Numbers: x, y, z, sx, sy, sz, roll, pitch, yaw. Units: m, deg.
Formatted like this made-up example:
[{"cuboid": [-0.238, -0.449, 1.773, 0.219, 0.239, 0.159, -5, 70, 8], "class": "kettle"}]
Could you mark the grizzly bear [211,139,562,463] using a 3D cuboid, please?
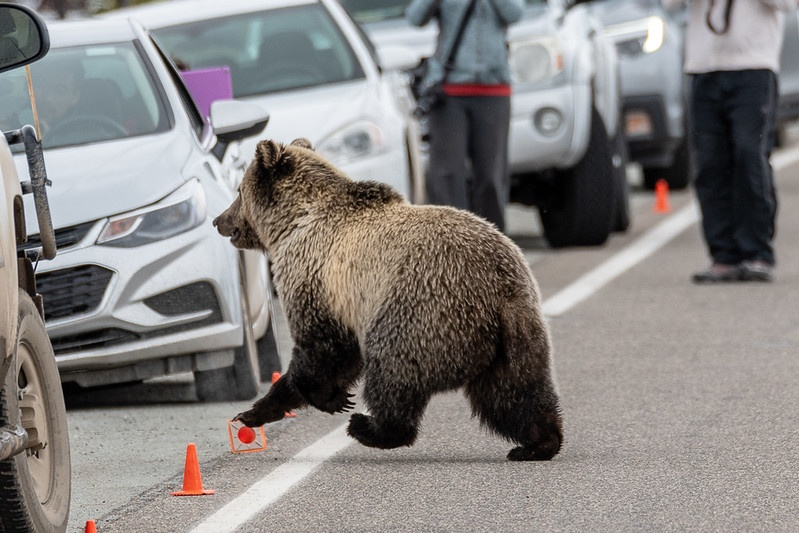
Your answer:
[{"cuboid": [-0.080, 0.149, 4.543, 1.653, 1.612, 0.572, 2, 8, 34], "class": "grizzly bear"}]

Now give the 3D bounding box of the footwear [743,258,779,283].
[{"cuboid": [3.196, 0.038, 8.042, 0.258, 0.139, 0.155, 6, -9, 16], "class": "footwear"}]

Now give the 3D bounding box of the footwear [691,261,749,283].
[{"cuboid": [2.870, 0.062, 8.158, 0.443, 0.209, 0.173, 2, -6, 0], "class": "footwear"}]

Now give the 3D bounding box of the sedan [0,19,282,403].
[{"cuboid": [-1.676, -0.442, 6.483, 1.544, 1.386, 2.664, -7, 1, 1], "class": "sedan"}]
